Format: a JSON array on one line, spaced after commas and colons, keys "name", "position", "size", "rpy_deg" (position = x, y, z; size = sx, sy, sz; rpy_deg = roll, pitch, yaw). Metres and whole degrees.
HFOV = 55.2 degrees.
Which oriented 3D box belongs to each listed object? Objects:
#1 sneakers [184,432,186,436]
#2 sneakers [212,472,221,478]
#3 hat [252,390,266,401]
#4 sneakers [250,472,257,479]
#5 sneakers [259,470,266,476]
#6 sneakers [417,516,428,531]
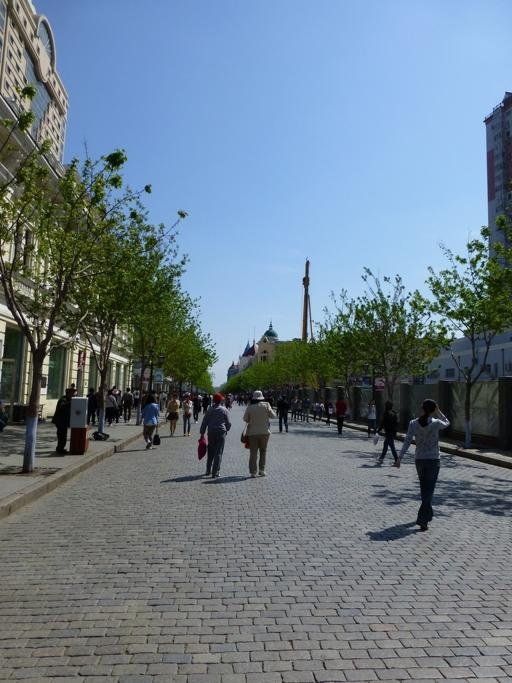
[{"name": "sneakers", "position": [-3.438, 4.518, 24.104], "size": [0.096, 0.182, 0.098], "rpy_deg": [0, -6, 0]}, {"name": "sneakers", "position": [-0.907, 2.997, 11.078], "size": [0.151, 0.160, 0.271], "rpy_deg": [-5, -11, 14]}, {"name": "hat", "position": [0.059, 1.238, 11.196], "size": [0.271, 0.171, 0.293], "rpy_deg": [6, 6, 32]}, {"name": "sneakers", "position": [-0.062, 3.016, 11.106], "size": [0.086, 0.140, 0.133], "rpy_deg": [3, -5, -43]}, {"name": "sneakers", "position": [0.165, 3.033, 11.336], "size": [0.107, 0.107, 0.112], "rpy_deg": [2, -2, -3]}, {"name": "sneakers", "position": [2.203, 2.422, 6.549], "size": [0.080, 0.172, 0.242], "rpy_deg": [2, 2, 8]}]
